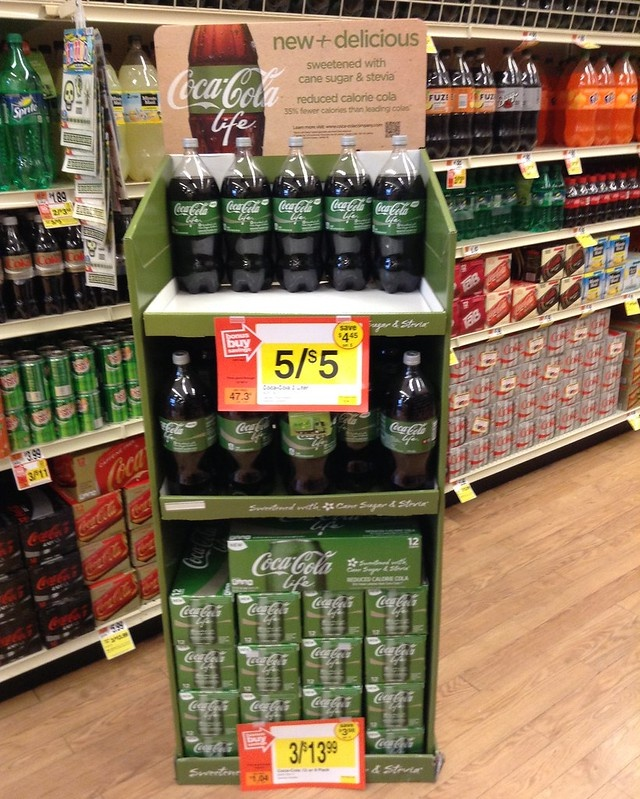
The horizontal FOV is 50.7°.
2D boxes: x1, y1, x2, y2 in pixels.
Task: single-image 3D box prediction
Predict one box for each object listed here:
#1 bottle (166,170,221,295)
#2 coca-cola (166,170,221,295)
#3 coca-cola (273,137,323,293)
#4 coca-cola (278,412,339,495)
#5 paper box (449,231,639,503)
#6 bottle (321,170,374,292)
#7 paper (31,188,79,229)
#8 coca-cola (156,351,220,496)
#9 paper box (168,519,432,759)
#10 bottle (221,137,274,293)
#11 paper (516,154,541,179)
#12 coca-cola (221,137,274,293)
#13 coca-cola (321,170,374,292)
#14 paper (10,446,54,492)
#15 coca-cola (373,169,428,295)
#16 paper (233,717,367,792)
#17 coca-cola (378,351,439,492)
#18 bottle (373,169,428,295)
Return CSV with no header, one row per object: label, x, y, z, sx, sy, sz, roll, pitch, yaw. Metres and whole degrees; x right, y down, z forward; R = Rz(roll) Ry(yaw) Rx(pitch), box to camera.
bottle,-0.295,-0.389,1.581,0.127,0.270,0.069,-9,28,-6
coca-cola,-0.295,-0.389,1.581,0.127,0.270,0.069,-9,28,-6
coca-cola,-0.056,-0.436,1.592,0.124,0.342,0.149,-7,27,-2
coca-cola,-0.026,0.099,1.560,0.126,0.214,0.166,-5,27,0
paper box,1.116,-0.170,3.433,1.302,1.072,0.494,-18,32,-28
bottle,0.066,-0.396,1.584,0.108,0.273,0.066,-4,28,2
paper,-0.770,-0.560,1.948,0.010,0.110,0.119,5,24,38
coca-cola,-0.302,0.054,1.521,0.128,0.330,0.115,-12,28,-12
paper box,-0.065,0.590,1.781,0.655,0.600,0.583,-1,60,-4
bottle,-0.176,-0.428,1.579,0.126,0.341,0.110,-20,31,-25
paper,0.929,-1.042,3.004,0.073,0.103,0.122,12,31,30
coca-cola,-0.176,-0.428,1.579,0.126,0.341,0.110,-20,31,-25
coca-cola,0.066,-0.396,1.584,0.108,0.273,0.066,-4,28,2
paper,-0.910,0.211,2.105,0.105,0.107,0.062,-21,31,-30
coca-cola,0.180,-0.382,1.561,0.112,0.272,0.067,-2,28,6
paper,-0.055,0.931,1.787,0.253,0.136,0.010,-1,4,-3
coca-cola,0.208,0.061,1.550,0.139,0.326,0.134,6,18,26
bottle,0.180,-0.382,1.561,0.112,0.272,0.067,-2,28,6
